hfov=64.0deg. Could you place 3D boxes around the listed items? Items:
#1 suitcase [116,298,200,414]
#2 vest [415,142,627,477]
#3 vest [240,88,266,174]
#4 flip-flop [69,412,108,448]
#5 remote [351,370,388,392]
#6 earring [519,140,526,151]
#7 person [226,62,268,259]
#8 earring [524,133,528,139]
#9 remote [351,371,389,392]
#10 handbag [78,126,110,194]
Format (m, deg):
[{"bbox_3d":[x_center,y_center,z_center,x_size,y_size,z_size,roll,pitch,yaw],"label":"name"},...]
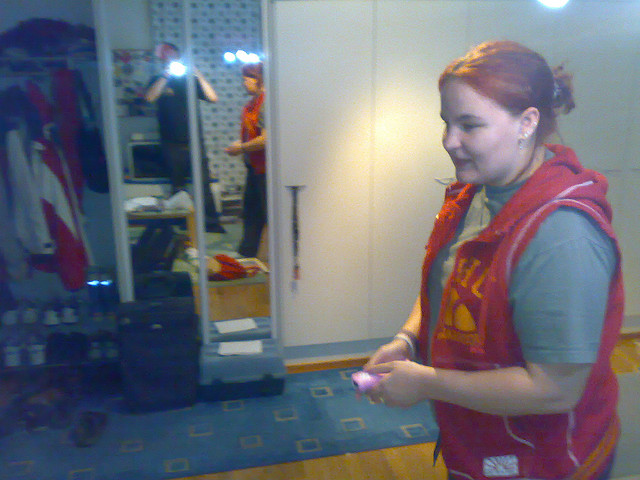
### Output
[{"bbox_3d":[-0.594,0.411,1.908,0.306,0.409,0.271,2,6,-3],"label":"suitcase"},{"bbox_3d":[0.587,0.244,1.430,0.533,1.010,0.255,2,10,16],"label":"vest"},{"bbox_3d":[-0.244,-0.400,1.929,0.125,0.318,0.099,9,18,17],"label":"vest"},{"bbox_3d":[-0.773,0.634,1.708,0.118,0.099,0.054,-2,9,-9],"label":"flip-flop"},{"bbox_3d":[0.148,0.416,1.525,0.105,0.048,0.035,-11,53,-13],"label":"remote"},{"bbox_3d":[0.517,-0.242,1.305,0.018,0.025,0.007,-2,10,-5],"label":"earring"},{"bbox_3d":[-0.244,-0.277,1.892,0.125,0.706,0.169,4,11,26],"label":"person"},{"bbox_3d":[0.523,-0.265,1.297,0.009,0.009,0.001,-4,10,-17],"label":"earring"},{"bbox_3d":[0.145,0.412,1.529,0.099,0.037,0.047,-23,19,2],"label":"remote"},{"bbox_3d":[-0.745,-0.274,1.718,0.072,0.222,0.055,2,15,-24],"label":"handbag"}]
